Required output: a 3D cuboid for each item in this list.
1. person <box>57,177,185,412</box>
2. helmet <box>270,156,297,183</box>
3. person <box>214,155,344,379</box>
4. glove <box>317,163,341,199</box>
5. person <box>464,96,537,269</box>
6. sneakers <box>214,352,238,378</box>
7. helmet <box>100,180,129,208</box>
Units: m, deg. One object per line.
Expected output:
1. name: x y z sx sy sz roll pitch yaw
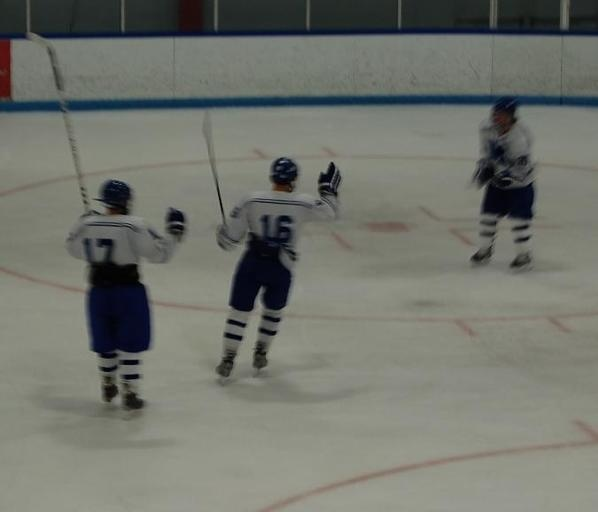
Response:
1. person: -1.012 0.236 4.776 0.628 1.291 0.656 6 30 6
2. helmet: -0.107 -0.524 5.210 0.199 0.143 0.148 -14 29 -35
3. person: -0.234 0.091 5.285 1.005 1.238 0.463 -22 39 -38
4. glove: 0.162 -0.470 5.336 0.127 0.255 0.143 -10 -23 32
5. person: 1.757 -0.591 7.274 0.541 1.447 0.801 -5 31 -12
6. sneakers: -0.447 0.665 5.210 0.080 0.087 0.198 32 45 -7
7. helmet: -0.991 -0.335 4.642 0.205 0.108 0.128 11 10 -19
